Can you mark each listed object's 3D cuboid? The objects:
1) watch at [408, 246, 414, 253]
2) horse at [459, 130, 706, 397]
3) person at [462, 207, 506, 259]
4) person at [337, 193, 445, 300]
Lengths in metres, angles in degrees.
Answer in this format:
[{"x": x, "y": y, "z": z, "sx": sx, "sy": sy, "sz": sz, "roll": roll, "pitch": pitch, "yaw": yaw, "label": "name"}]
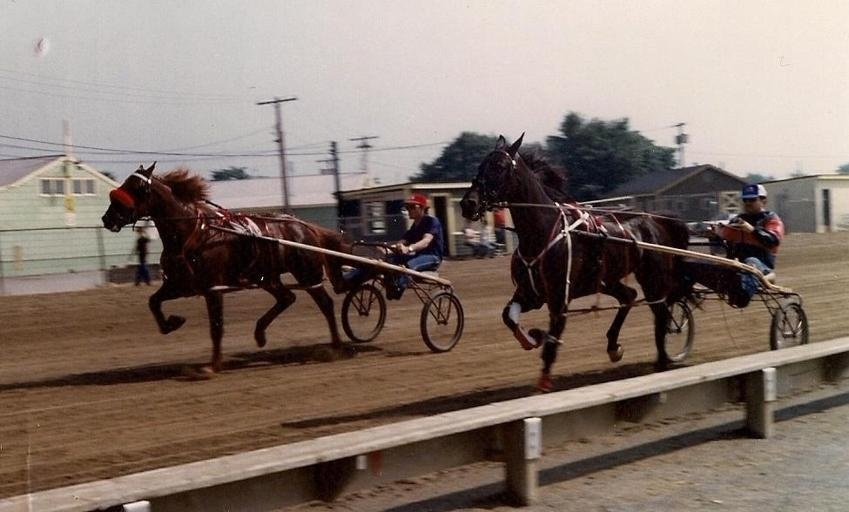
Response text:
[{"x": -0.193, "y": -0.085, "z": 11.018, "sx": 0.081, "sy": 0.081, "sz": 0.033, "roll": 5, "pitch": 4, "yaw": -2, "label": "watch"}, {"x": 1.866, "y": 0.058, "z": 9.346, "sx": 3.023, "sy": 2.880, "sz": 1.143, "roll": -9, "pitch": 16, "yaw": -42, "label": "horse"}, {"x": 1.479, "y": -0.522, "z": 20.717, "sx": 1.607, "sy": 1.338, "sz": 0.861, "roll": 1, "pitch": -3, "yaw": -43, "label": "person"}, {"x": -0.376, "y": -0.158, "z": 11.261, "sx": 1.493, "sy": 1.268, "sz": 0.958, "roll": -10, "pitch": 12, "yaw": -17, "label": "person"}]
